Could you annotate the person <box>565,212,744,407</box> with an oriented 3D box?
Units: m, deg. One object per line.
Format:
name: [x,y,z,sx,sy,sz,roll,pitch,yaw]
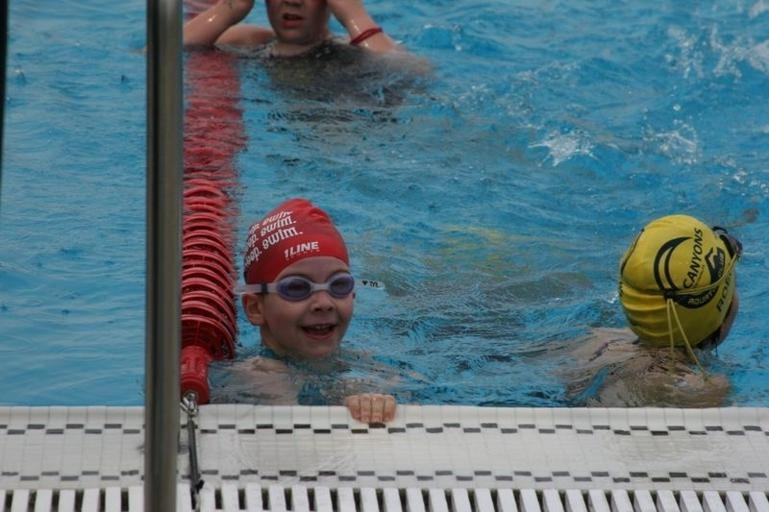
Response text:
person: [1.519,0.343,6.071,0.911,0.847,0.786,-12,36,-11]

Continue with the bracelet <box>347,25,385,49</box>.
bracelet: [-0.147,-1.818,8.936,0.216,0.225,0.047,-25,98,-19]
